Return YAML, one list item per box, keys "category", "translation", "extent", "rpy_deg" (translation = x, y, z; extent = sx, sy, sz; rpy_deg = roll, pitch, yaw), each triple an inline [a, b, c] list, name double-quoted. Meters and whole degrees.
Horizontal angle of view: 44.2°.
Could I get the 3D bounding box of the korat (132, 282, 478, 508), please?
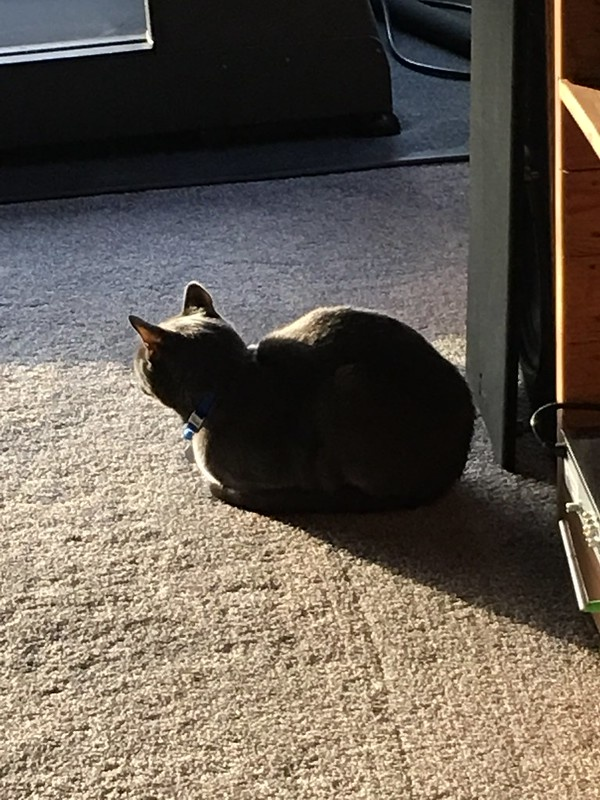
- category: "korat"
  translation: [0.005, -0.002, 0.959]
  extent: [0.455, 0.239, 0.245]
  rpy_deg: [1, 16, 17]
